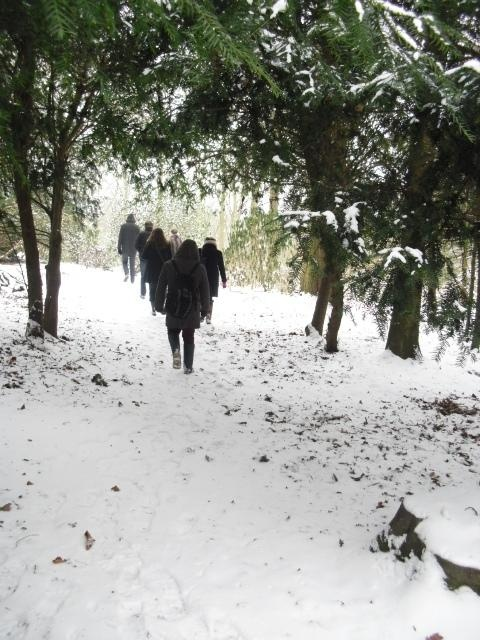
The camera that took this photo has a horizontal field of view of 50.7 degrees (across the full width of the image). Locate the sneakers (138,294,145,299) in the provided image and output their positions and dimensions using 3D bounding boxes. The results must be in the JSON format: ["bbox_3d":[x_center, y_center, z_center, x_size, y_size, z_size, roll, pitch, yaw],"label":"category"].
[{"bbox_3d":[-2.253,-0.550,11.626,0.078,0.122,0.256,3,5,-14],"label":"sneakers"}]

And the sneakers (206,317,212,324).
[{"bbox_3d":[-0.606,0.000,9.782,0.091,0.150,0.305,0,-5,-3],"label":"sneakers"}]

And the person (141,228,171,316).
[{"bbox_3d":[-1.542,-0.937,9.370,0.482,1.683,0.527,4,24,-3],"label":"person"}]

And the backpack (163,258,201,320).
[{"bbox_3d":[-0.690,-0.328,6.000,0.425,0.802,0.440,6,16,21],"label":"backpack"}]

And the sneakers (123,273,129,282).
[{"bbox_3d":[-3.190,-1.165,14.235,0.087,0.125,0.282,3,-23,-17],"label":"sneakers"}]

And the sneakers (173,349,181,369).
[{"bbox_3d":[-0.791,0.480,6.374,0.081,0.236,0.089,2,1,-15],"label":"sneakers"}]
